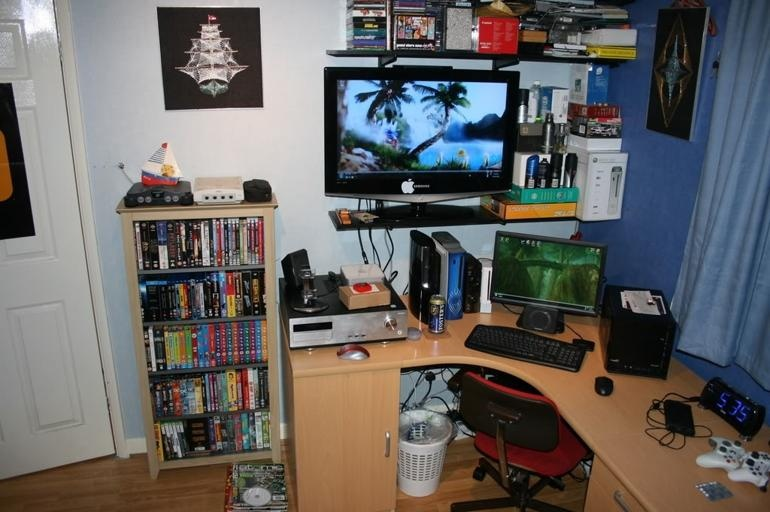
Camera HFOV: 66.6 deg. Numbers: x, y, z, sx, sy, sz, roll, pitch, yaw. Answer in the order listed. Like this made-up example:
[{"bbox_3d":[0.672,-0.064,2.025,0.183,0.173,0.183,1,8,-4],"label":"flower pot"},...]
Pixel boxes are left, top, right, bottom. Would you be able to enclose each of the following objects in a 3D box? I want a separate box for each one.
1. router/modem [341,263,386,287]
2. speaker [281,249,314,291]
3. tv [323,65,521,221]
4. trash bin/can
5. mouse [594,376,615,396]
[{"bbox_3d":[-0.146,0.123,3.794,0.260,0.097,0.228,-7,15,-12],"label":"router/modem"},{"bbox_3d":[-0.573,0.102,3.809,0.161,0.242,0.150,-8,16,-15],"label":"speaker"},{"bbox_3d":[0.235,-0.779,3.867,1.049,0.730,0.252,-1,12,-7],"label":"tv"},{"bbox_3d":[0.245,1.354,4.084,0.479,0.412,0.476,2,15,3],"label":"trash bin/can"},{"bbox_3d":[1.265,0.745,3.376,0.108,0.077,0.153,3,16,22],"label":"mouse"}]
